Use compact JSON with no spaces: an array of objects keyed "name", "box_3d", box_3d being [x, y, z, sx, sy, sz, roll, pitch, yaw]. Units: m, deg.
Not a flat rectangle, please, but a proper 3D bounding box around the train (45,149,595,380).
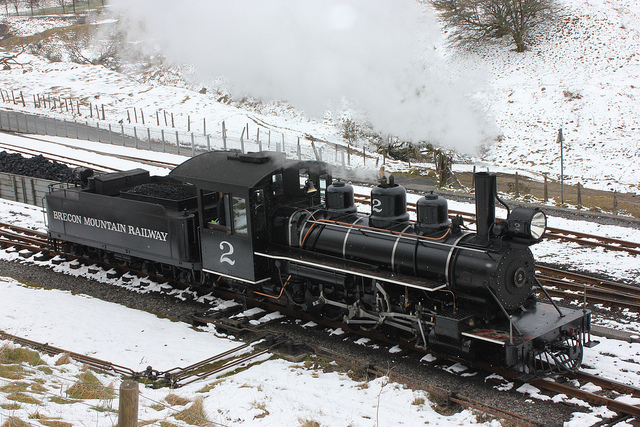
[{"name":"train","box_3d":[-1.194,0.553,21.333,20.481,3.850,3.733,6,20,38]}]
